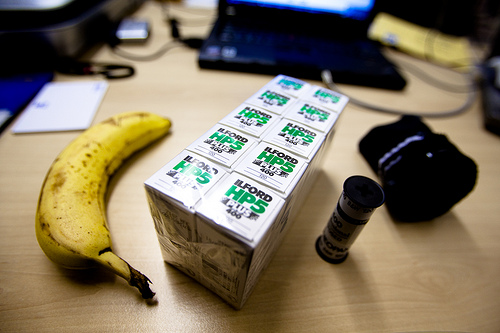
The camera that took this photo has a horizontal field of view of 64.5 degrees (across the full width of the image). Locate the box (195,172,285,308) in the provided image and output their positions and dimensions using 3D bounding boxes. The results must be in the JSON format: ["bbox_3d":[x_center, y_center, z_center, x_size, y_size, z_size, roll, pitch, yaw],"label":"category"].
[{"bbox_3d":[-0.041,0.181,1.036,0.202,0.347,0.202,29,49,21],"label":"box"}]
